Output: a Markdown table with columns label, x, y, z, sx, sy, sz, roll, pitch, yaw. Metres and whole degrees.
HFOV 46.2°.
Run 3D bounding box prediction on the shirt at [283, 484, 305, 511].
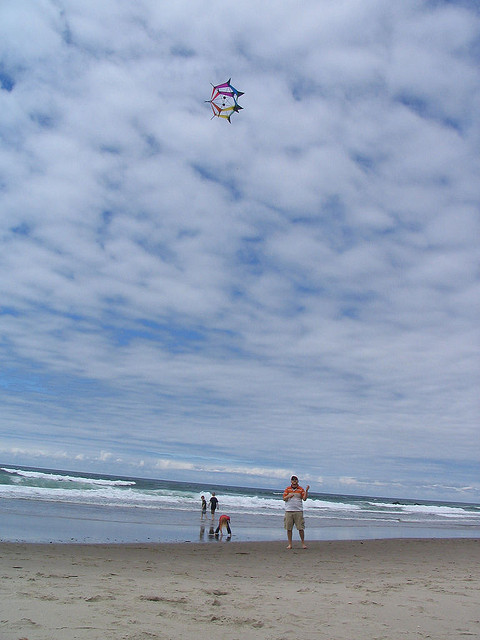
| label | x | y | z | sx | sy | sz | roll | pitch | yaw |
| --- | --- | --- | --- | --- | --- | --- | --- | --- | --- |
| shirt | 1.047 | 3.456 | 10.892 | 0.388 | 0.456 | 0.314 | -2 | -17 | 3 |

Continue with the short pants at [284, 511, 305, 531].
| label | x | y | z | sx | sy | sz | roll | pitch | yaw |
| --- | --- | --- | --- | --- | --- | --- | --- | --- | --- |
| short pants | 1.058 | 3.878 | 10.870 | 0.277 | 0.356 | 0.538 | 7 | -19 | -27 |
